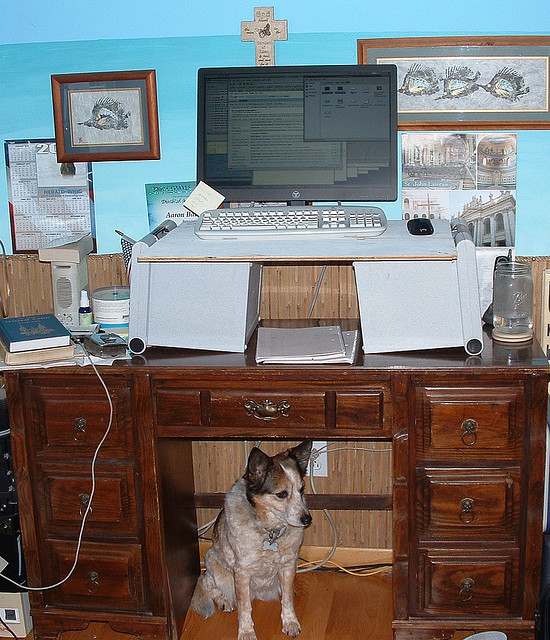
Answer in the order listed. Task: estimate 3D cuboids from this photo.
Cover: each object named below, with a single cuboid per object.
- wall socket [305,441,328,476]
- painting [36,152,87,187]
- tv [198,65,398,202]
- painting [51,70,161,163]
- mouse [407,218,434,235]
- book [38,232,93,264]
[{"bbox_3d":[0.143,0.483,2.138,0.078,0.153,0.076,-3,9,1],"label":"wall socket"},{"bbox_3d":[-0.726,-0.489,2.067,0.135,0.117,0.030,-1,3,-4],"label":"painting"},{"bbox_3d":[0.084,-0.550,1.789,0.426,0.274,0.031,0,10,5],"label":"tv"},{"bbox_3d":[-0.545,-0.671,1.999,0.296,0.245,0.020,-1,10,4],"label":"painting"},{"bbox_3d":[0.412,-0.261,1.738,0.073,0.044,0.107,-1,9,13],"label":"mouse"},{"bbox_3d":[-0.655,-0.215,1.902,0.111,0.054,0.151,0,28,4],"label":"book"}]
